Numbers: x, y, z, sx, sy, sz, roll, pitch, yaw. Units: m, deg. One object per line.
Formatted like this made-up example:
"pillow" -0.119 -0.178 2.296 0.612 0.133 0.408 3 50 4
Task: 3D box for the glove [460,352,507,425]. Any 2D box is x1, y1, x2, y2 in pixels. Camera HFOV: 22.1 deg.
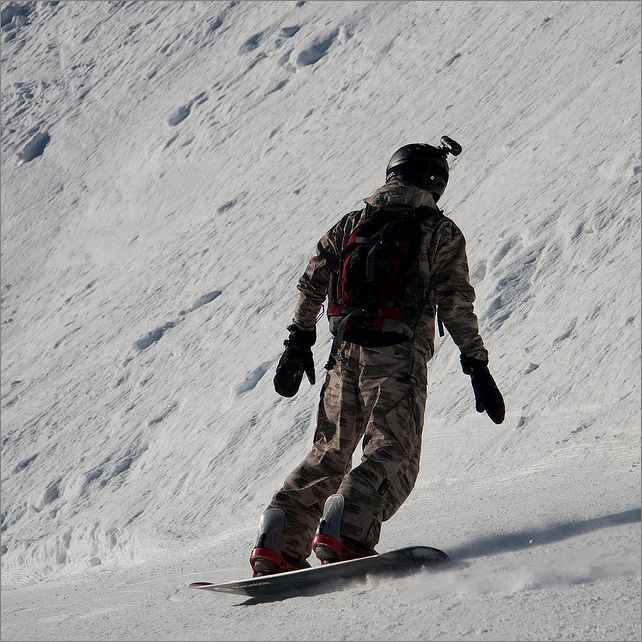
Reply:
"glove" 2.593 1.021 25.121 0.686 1.007 0.292 -20 -6 43
